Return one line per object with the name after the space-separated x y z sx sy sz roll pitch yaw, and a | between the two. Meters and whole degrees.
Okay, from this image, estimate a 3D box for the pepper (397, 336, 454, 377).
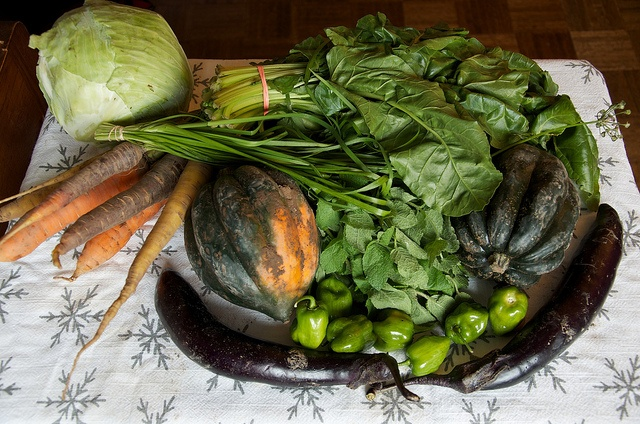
0.368 0.495 1.875 0.186 0.103 0.076 -25 -20 2 | pepper

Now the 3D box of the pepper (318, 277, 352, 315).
0.047 0.293 2.030 0.119 0.134 0.125 -14 18 -8 | pepper

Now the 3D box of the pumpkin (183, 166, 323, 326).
-0.235 0.104 2.066 0.441 0.552 0.368 -31 4 -4 | pumpkin

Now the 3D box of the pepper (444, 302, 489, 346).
0.522 0.377 1.970 0.142 0.145 0.211 -7 7 38 | pepper

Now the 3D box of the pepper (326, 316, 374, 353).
0.105 0.431 1.912 0.150 0.110 0.083 -16 -4 -13 | pepper

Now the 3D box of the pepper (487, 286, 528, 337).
0.668 0.342 1.985 0.130 0.173 0.107 23 6 15 | pepper

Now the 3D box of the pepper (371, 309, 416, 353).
0.251 0.402 1.982 0.158 0.137 0.222 1 27 9 | pepper
